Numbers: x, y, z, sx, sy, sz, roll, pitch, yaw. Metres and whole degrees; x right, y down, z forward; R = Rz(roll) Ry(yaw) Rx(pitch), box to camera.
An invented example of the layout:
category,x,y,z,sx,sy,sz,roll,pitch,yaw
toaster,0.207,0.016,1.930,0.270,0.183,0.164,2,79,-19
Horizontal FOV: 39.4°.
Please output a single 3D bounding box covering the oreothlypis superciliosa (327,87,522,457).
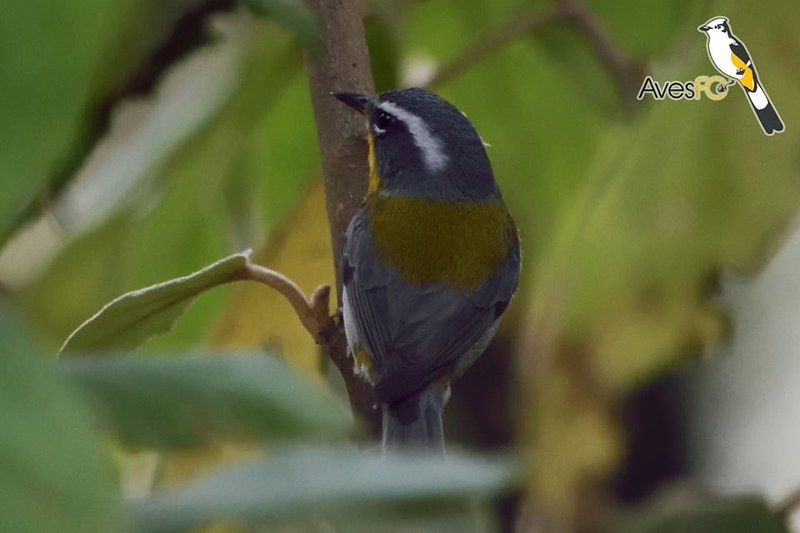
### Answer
category,x,y,z,sx,sy,sz,roll,pitch,yaw
oreothlypis superciliosa,0.090,0.013,3.669,0.438,1.161,1.046,-2,16,-16
